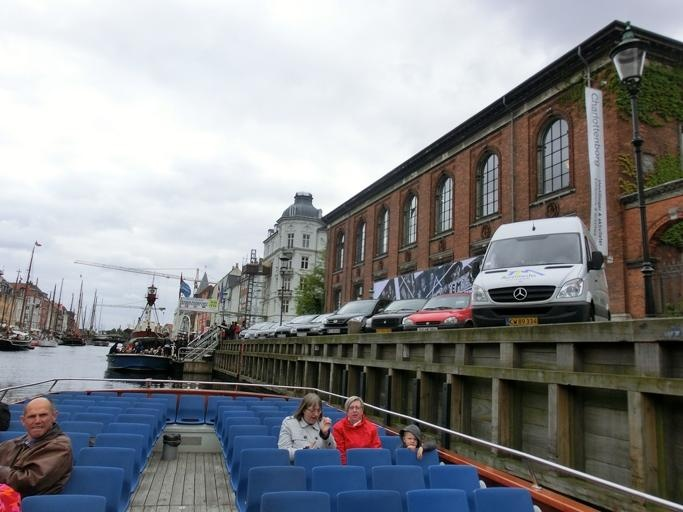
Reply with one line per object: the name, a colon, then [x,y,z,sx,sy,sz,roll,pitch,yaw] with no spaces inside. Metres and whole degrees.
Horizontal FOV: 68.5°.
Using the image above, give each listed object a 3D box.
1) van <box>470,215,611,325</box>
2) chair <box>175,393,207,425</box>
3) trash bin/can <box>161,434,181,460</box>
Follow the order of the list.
van: [4.509,0.255,11.510,2.686,2.821,2.739,-2,-11,22]
chair: [-3.751,3.829,12.488,0.632,0.515,0.598,5,-29,-11]
trash bin/can: [-3.284,3.660,9.576,0.433,0.464,0.424,2,-7,-14]
